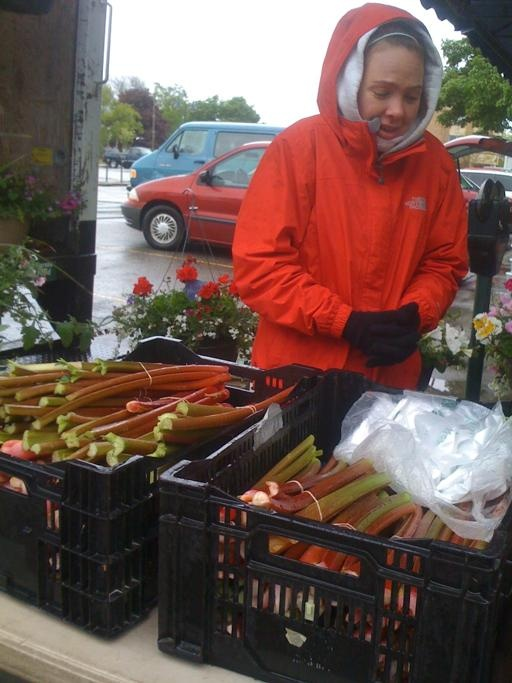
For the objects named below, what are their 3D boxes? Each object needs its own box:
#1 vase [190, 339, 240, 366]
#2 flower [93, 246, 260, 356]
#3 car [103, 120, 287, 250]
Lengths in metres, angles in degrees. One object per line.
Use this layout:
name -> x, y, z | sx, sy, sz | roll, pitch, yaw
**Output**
vase -> -0.279, 0.077, 4.377 | 0.319, 0.095, 0.175 | 4, 10, 4
flower -> -0.483, -0.224, 4.462 | 0.887, 0.596, 0.873 | 13, 22, 11
car -> -0.750, -3.000, 12.235 | 4.540, 2.273, 2.453 | 14, 30, 19
